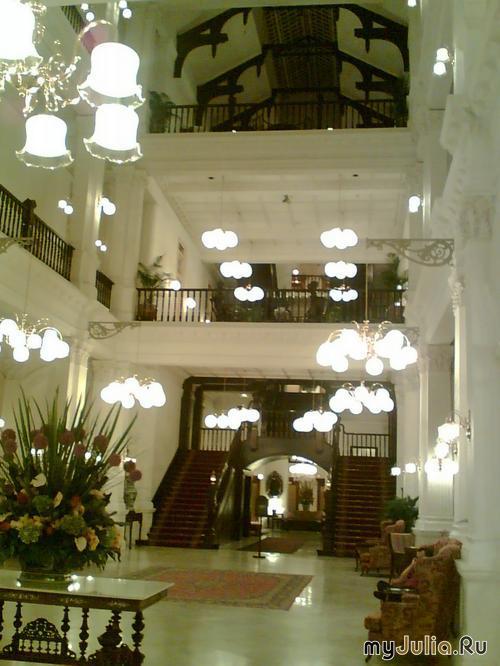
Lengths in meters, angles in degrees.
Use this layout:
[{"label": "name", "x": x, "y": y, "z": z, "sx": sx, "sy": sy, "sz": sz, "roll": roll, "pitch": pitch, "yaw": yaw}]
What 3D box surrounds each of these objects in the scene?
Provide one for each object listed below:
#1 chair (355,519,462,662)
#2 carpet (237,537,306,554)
[{"label": "chair", "x": 1.635, "y": 2.597, "z": 6.008, "sx": 1.247, "sy": 1.597, "sz": 1.219, "roll": -3, "pitch": -21, "yaw": 13}, {"label": "carpet", "x": 0.619, "y": 6.654, "z": 17.856, "sx": 1.155, "sy": 0.028, "sz": 2.602, "roll": 1, "pitch": -9, "yaw": 8}]
